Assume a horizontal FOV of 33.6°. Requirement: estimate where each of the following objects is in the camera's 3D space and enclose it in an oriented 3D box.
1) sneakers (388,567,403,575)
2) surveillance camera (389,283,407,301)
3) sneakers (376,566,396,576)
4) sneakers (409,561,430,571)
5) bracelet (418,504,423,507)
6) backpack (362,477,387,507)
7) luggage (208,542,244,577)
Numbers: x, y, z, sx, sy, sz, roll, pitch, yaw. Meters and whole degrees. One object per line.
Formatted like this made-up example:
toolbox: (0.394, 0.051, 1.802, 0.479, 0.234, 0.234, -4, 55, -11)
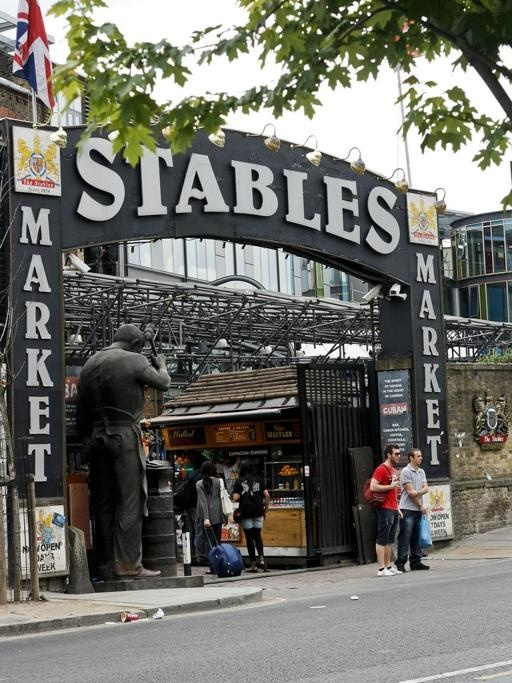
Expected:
sneakers: (2.053, 3.427, 12.602, 0.247, 0.107, 0.090, 4, -2, 8)
surveillance camera: (2.803, -0.943, 16.723, 0.256, 0.346, 0.387, -2, -12, 27)
sneakers: (1.928, 3.436, 12.581, 0.282, 0.121, 0.103, -1, -3, 24)
sneakers: (2.545, 3.510, 13.181, 0.324, 0.138, 0.120, -1, -6, 11)
bracelet: (2.530, 2.553, 13.108, 0.053, 0.057, 0.057, 5, 5, 34)
backpack: (1.738, 2.289, 12.689, 0.247, 0.403, 0.468, -2, -8, -16)
luggage: (-0.521, 3.463, 13.386, 0.479, 0.572, 0.595, -7, -10, 39)
